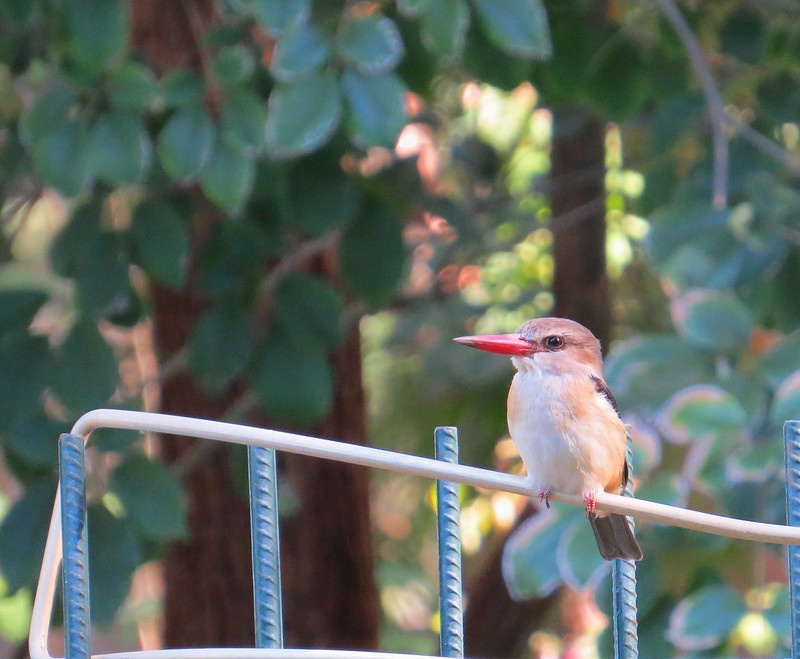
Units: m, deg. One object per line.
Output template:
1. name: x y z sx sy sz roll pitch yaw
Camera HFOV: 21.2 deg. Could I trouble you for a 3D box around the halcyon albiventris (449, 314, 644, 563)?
1. halcyon albiventris: 0.470 0.266 6.645 0.614 0.626 0.193 15 -32 -29
